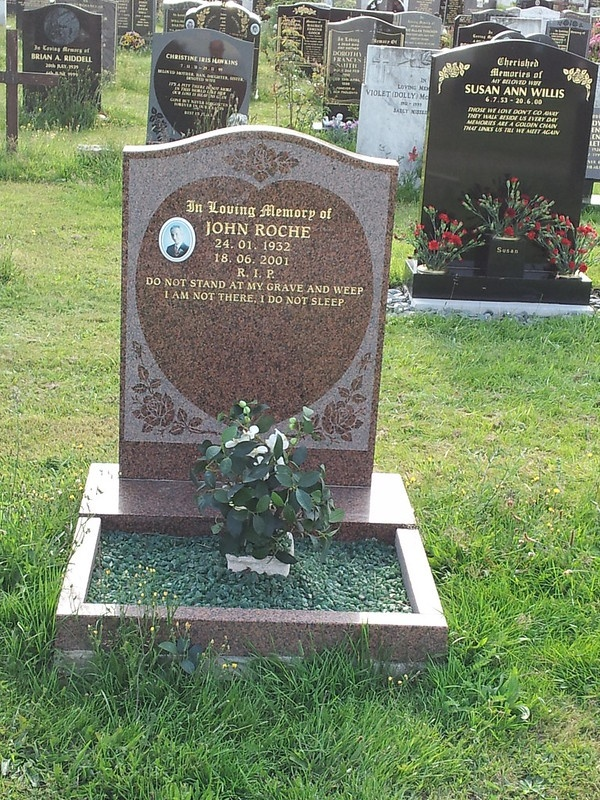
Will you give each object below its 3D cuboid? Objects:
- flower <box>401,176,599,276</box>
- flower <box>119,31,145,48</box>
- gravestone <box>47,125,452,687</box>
[{"bbox_3d":[1.680,-1.427,6.755,1.349,0.574,0.315,0,36,-1],"label":"flower"},{"bbox_3d":[-3.939,-8.386,19.045,0.469,0.447,0.240,-2,-4,6],"label":"flower"},{"bbox_3d":[-0.091,-0.129,2.901,1.341,1.698,1.177,3,13,-12],"label":"gravestone"}]
